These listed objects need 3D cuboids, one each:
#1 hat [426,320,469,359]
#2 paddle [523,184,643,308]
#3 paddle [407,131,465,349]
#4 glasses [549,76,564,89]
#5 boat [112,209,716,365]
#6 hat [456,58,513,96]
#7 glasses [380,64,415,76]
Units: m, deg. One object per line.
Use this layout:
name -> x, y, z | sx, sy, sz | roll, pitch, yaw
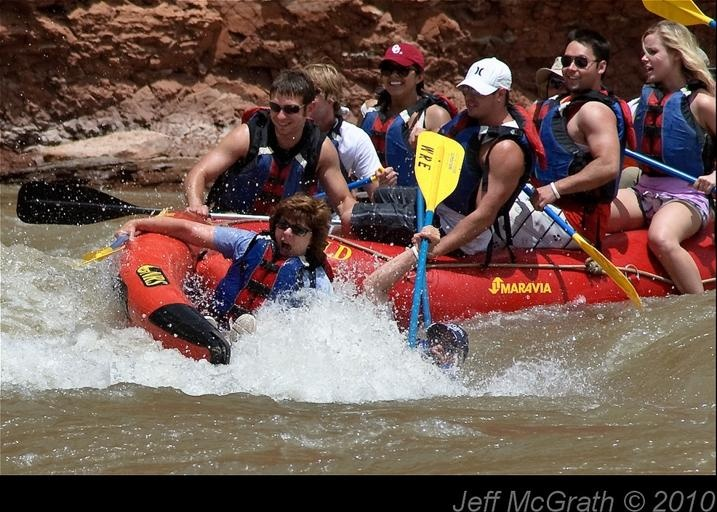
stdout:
hat -> 0.570, 0.526, 6.279 | 0.139, 0.186, 0.263 | -36, 45, -22
paddle -> 1.631, -0.039, 7.252 | 1.152, 0.066, 0.129 | 47, 64, 4
paddle -> 0.491, -0.141, 6.833 | 0.324, 0.084, 1.647 | 6, 64, 6
glasses -> 1.772, -1.536, 8.756 | 0.047, 0.068, 0.117 | 11, 0, -29
boat -> 0.236, 0.142, 6.931 | 2.696, 0.467, 1.581 | 0, 15, -21
hat -> 0.871, -1.241, 6.815 | 0.242, 0.191, 0.335 | 16, 12, 41
glasses -> 0.314, -1.601, 8.474 | 0.146, 0.044, 0.147 | 11, -5, 20
